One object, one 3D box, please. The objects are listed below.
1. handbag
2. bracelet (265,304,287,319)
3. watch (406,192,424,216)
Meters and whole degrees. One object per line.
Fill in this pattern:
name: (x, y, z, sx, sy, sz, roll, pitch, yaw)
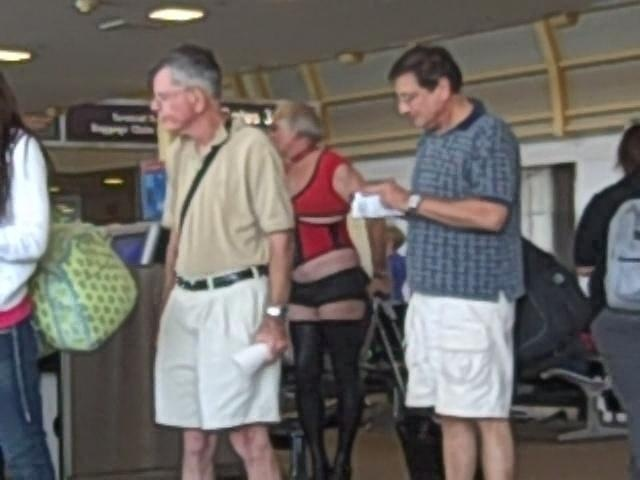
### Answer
handbag: (-0.697, 0.142, 2.505, 0.338, 0.338, 0.145, 1, -6, 4)
bracelet: (-0.140, 0.207, 2.510, 0.074, 0.040, 0.045, -5, -3, 39)
watch: (0.270, -0.107, 2.513, 0.042, 0.063, 0.059, 8, -25, 19)
